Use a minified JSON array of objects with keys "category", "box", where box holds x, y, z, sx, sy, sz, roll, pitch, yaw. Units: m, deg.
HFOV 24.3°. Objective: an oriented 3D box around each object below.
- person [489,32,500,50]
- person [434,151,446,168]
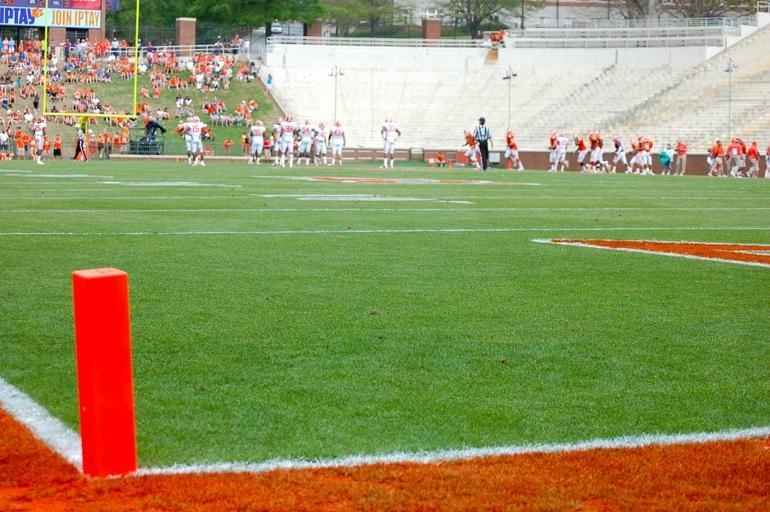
[{"category":"person","box":[5.931,-11.441,94.066,0.710,0.968,1.750,1,6,4]},{"category":"person","box":[2.564,-4.390,81.647,0.530,0.226,0.816,3,14,3]}]
